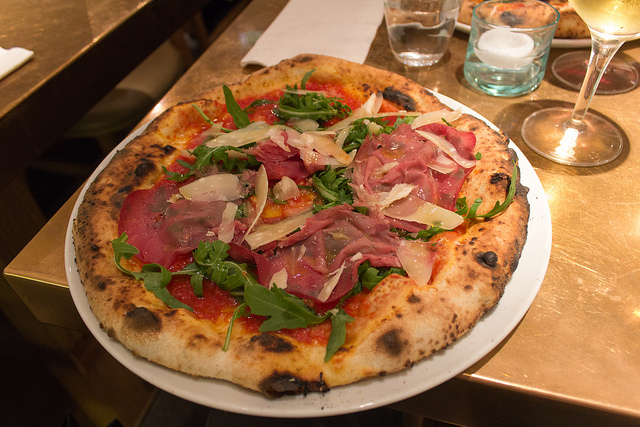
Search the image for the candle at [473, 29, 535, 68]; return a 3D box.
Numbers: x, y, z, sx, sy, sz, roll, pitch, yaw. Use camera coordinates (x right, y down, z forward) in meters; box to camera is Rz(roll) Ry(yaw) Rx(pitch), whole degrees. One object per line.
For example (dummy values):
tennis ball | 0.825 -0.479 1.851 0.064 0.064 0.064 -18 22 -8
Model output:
candle | 0.818 -0.732 2.171 0.293 0.153 0.278 1 20 5
